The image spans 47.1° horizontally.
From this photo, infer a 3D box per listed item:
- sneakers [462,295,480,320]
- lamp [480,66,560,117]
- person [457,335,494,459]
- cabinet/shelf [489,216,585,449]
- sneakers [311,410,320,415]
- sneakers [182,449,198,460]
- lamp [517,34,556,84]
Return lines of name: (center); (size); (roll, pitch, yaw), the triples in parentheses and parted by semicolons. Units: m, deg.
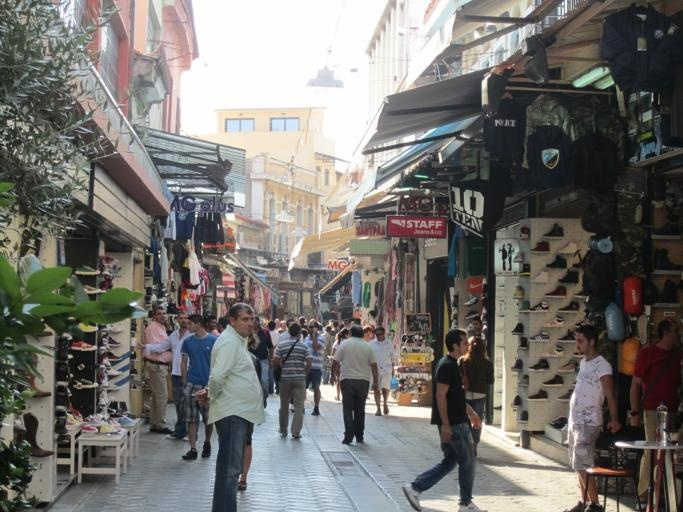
sneakers: (2.708, 1.095, 16.348); (0.209, 0.260, 0.624); (-26, -2, 36)
lamp: (2.130, -2.090, 9.753); (0.671, 0.374, 0.711); (0, 1, 1)
person: (1.945, 1.995, 11.579); (0.532, 1.742, 0.516); (6, 12, 13)
cabinet/shelf: (3.077, 1.196, 12.132); (1.018, 3.551, 3.071); (1, 11, -1)
sneakers: (-0.546, 3.308, 16.480); (0.168, 0.182, 0.089); (1, -3, 10)
sneakers: (-2.072, 2.767, 10.847); (0.089, 0.119, 0.261); (-3, -7, 33)
lamp: (2.150, -2.216, 8.948); (0.373, 0.729, 0.454); (-2, 3, -7)
